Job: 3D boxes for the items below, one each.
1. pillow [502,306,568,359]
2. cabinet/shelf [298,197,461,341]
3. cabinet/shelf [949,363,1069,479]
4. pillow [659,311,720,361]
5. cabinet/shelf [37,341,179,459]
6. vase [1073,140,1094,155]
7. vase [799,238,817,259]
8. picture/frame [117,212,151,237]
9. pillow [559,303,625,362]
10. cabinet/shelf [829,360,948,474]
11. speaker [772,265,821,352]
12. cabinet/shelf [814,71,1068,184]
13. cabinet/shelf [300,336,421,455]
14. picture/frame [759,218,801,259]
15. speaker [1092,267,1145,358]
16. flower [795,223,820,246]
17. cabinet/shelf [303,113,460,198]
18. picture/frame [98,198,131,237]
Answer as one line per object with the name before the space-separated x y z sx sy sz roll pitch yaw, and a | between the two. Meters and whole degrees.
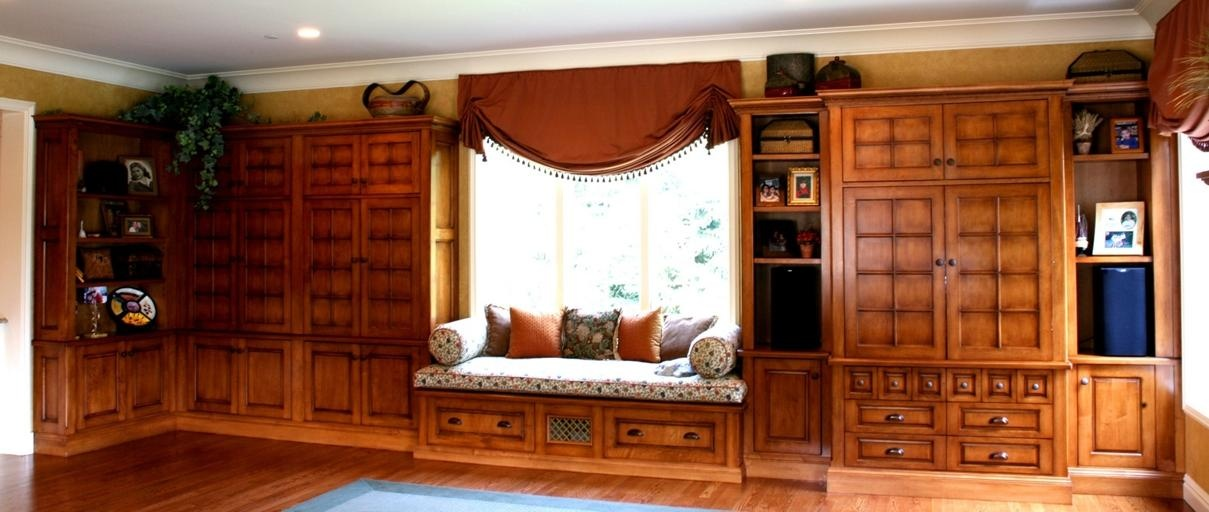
pillow | -0.946 1.072 10.556 0.987 0.608 0.295 2 -7 0
cabinet/shelf | -3.121 0.165 10.659 2.927 1.870 0.935 0 -3 8
cabinet/shelf | 4.680 2.086 9.768 2.013 1.333 0.942 7 -11 -22
pillow | 1.136 1.079 10.414 0.819 0.575 0.234 1 -19 38
cabinet/shelf | -6.918 1.977 10.654 0.871 1.305 2.017 -4 -4 39
vase | 5.984 -1.337 9.722 0.231 0.116 0.201 0 1 -27
vase | 2.623 -0.079 9.979 0.292 0.178 0.247 -1 -3 23
picture/frame | -6.672 -0.424 10.964 0.477 0.287 0.043 3 -11 -33
pillow | -0.167 1.066 10.501 1.012 0.625 0.292 1 -10 12
cabinet/shelf | 3.588 1.976 9.591 2.092 1.335 0.706 0 -2 8
speaker | 2.459 0.673 9.940 0.614 1.052 0.164 -1 0 9
cabinet/shelf | 4.148 -1.455 9.759 3.432 0.999 0.567 -4 10 -15
cabinet/shelf | -3.277 1.922 10.650 2.325 1.287 0.752 0 -3 9
picture/frame | 2.290 -0.202 10.116 0.717 0.438 0.195 -1 -10 6
speaker | 6.400 0.686 9.571 0.584 1.157 0.133 -1 0 0
flower | 2.623 -0.279 10.064 0.343 0.157 0.282 1 4 9
cabinet/shelf | -3.093 -1.344 10.639 1.747 0.690 0.514 0 -3 12
picture/frame | -6.921 -0.519 10.906 0.614 0.424 0.129 0 -4 -28
